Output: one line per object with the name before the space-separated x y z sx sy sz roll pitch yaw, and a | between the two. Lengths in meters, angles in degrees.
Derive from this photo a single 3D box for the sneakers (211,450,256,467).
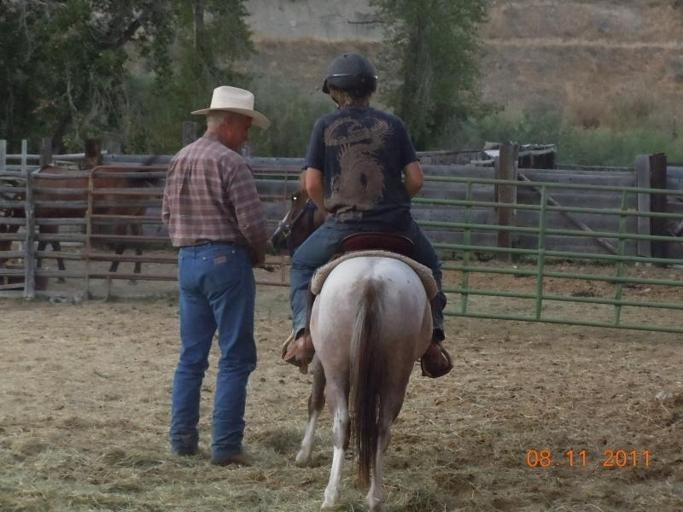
sneakers | -1.495 2.680 17.312 0.625 0.269 0.209 -5 6 -9

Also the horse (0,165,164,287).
horse | -4.423 -0.532 23.098 2.576 2.067 3.012 2 3 14

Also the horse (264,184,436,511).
horse | 0.151 1.487 16.795 1.815 3.598 0.927 3 3 29

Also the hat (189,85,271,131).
hat | -1.397 -1.981 17.403 0.777 0.290 0.637 9 -4 -8
